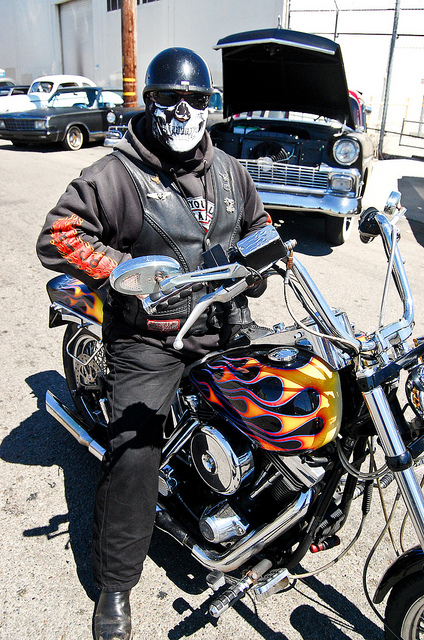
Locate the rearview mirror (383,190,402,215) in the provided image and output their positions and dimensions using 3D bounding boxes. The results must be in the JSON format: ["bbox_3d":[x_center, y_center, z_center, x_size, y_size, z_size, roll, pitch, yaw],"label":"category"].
[{"bbox_3d":[0.594,-0.382,1.608,0.049,0.099,0.023,20,-19,15],"label":"rearview mirror"}]

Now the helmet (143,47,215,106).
[{"bbox_3d":[-0.109,-0.897,1.781,0.239,0.193,0.245,-5,9,-28],"label":"helmet"}]

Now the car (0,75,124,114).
[{"bbox_3d":[-4.190,-6.287,14.217,3.258,1.086,1.502,-18,38,-29],"label":"car"}]

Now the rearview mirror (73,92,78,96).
[{"bbox_3d":[-3.688,-6.137,13.215,0.114,0.113,0.031,1,11,-5],"label":"rearview mirror"}]

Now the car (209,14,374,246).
[{"bbox_3d":[1.410,-2.957,7.383,2.517,2.292,4.368,14,33,22],"label":"car"}]

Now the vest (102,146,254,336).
[{"bbox_3d":[-0.129,-0.251,1.566,0.479,0.593,0.366,-22,34,-32],"label":"vest"}]
